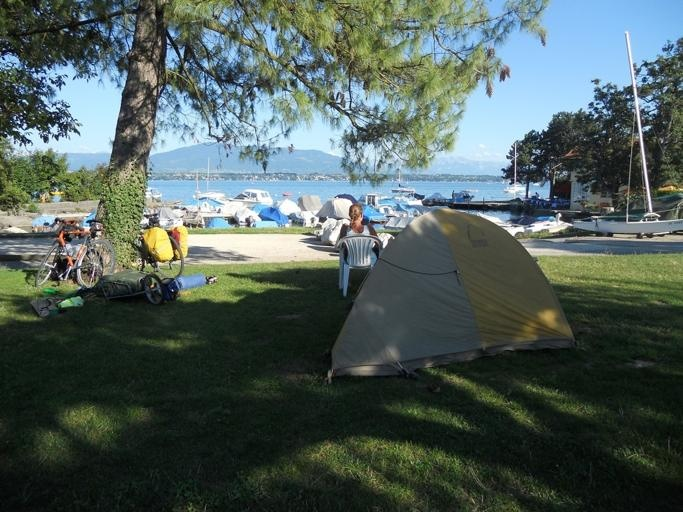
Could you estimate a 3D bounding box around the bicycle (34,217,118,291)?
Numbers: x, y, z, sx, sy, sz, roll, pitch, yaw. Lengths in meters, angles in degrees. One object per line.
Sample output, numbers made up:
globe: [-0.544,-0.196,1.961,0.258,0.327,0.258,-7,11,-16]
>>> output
bicycle: [-5.711,-0.076,9.794,2.136,1.395,1.032,3,2,-14]

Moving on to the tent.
tent: [1.378,0.567,6.552,2.236,1.245,2.368,-4,6,-8]

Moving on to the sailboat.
sailboat: [13.391,-5.900,22.384,3.807,9.676,5.551,0,6,20]

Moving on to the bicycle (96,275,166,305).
bicycle: [-3.686,0.532,8.559,0.864,0.347,0.577,12,13,0]

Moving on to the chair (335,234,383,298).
chair: [0.395,0.137,9.977,1.018,1.333,1.012,-6,14,-31]

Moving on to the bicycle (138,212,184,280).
bicycle: [-3.931,-0.378,10.550,0.753,0.955,1.514,-16,27,-37]
